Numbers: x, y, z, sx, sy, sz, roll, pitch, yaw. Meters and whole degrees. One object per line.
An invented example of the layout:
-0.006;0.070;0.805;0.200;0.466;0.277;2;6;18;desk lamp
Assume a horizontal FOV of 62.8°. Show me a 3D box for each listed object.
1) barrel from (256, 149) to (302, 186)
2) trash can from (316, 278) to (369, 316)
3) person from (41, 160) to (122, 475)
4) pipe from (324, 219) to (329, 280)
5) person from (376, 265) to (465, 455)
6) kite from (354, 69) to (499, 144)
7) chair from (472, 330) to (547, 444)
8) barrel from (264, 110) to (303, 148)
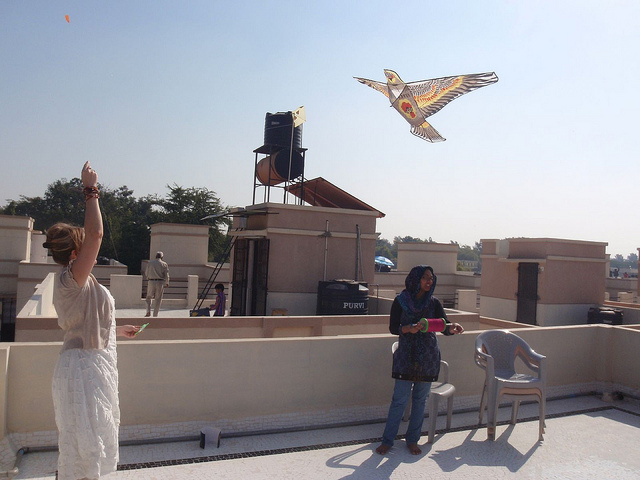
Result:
-1.215;-2.201;15.846;1.375;1.154;0.886;4;8;5;barrel
0.545;1.433;12.576;1.183;0.935;1.193;3;-3;-5;trash can
-1.839;0.591;4.071;0.504;2.345;0.672;-1;8;-29;person
0.167;0.220;13.492;0.080;1.493;0.351;3;7;-2;pipe
1.084;1.334;6.053;0.695;2.046;0.797;4;7;7;person
2.739;-3.768;14.892;2.399;1.562;3.443;2;8;-13;kite
2.385;1.798;6.600;0.848;1.262;0.960;0;-8;22;chair
-1.113;-3.406;16.050;1.091;1.043;0.584;2;8;-11;barrel
